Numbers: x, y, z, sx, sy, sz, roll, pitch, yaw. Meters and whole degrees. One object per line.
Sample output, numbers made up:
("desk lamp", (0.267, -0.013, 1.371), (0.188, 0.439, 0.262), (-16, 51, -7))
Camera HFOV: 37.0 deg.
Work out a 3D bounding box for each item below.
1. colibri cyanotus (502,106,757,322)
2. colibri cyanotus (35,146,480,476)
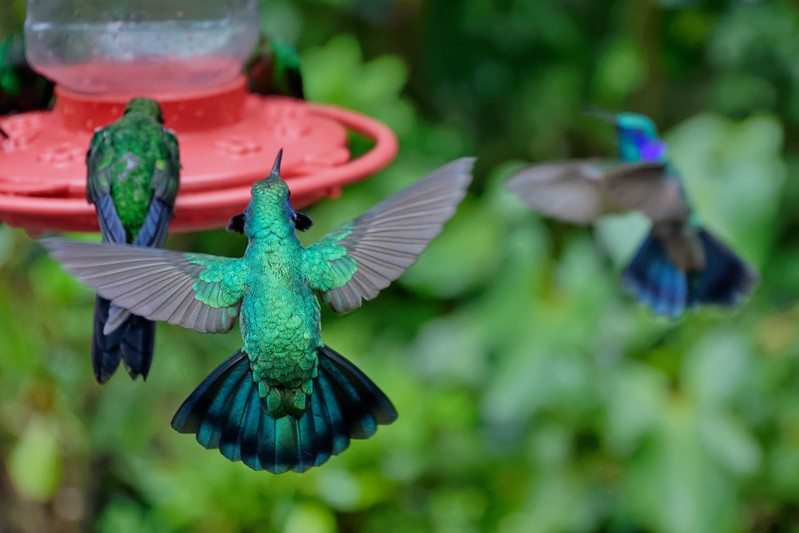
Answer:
("colibri cyanotus", (0.391, -0.096, 1.801), (0.270, 0.319, 0.468), (34, 20, 12))
("colibri cyanotus", (-0.164, 0.061, 1.741), (0.622, 0.296, 0.406), (-13, 38, 8))
